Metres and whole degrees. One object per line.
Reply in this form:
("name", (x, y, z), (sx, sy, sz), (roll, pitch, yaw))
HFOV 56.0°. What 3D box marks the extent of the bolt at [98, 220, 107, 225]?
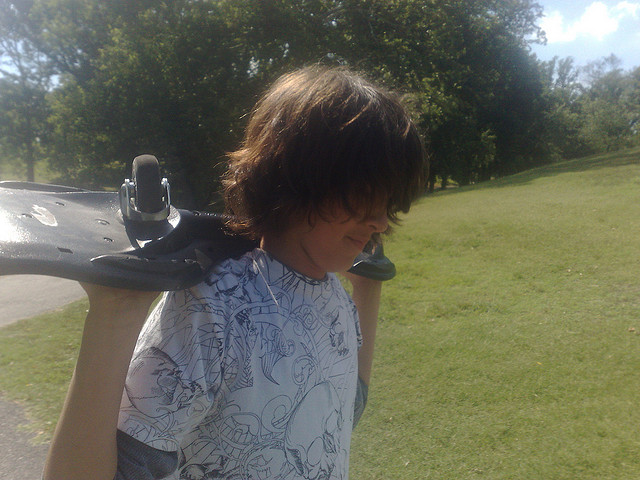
("bolt", (-0.920, -0.076, 2.533), (0.015, 0.006, 0.028), (-14, 38, -38))
